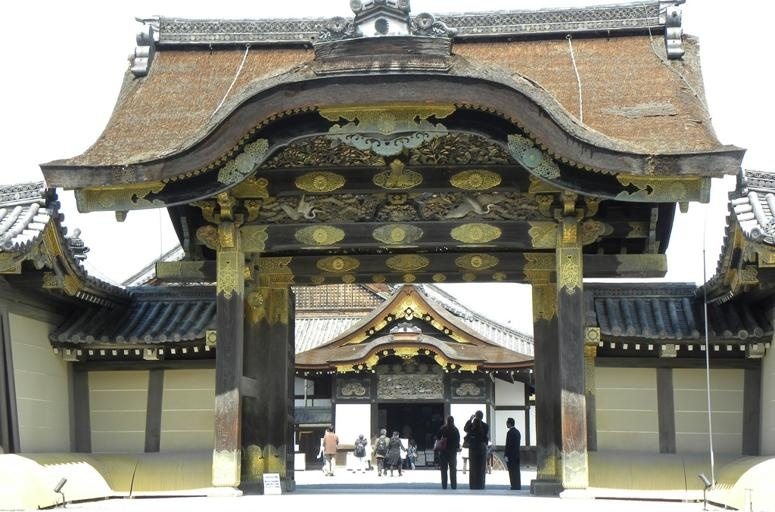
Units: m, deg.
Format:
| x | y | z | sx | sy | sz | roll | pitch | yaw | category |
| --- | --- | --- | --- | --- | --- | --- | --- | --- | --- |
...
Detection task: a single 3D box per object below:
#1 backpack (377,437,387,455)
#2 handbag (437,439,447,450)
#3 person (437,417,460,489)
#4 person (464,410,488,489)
| x | y | z | sx | sy | sz | roll | pitch | yaw | category |
| --- | --- | --- | --- | --- | --- | --- | --- | --- | --- |
| -0.098 | 4.283 | 41.820 | 0.252 | 0.473 | 0.279 | -2 | -18 | 0 | backpack |
| 1.062 | 3.529 | 34.714 | 0.088 | 0.192 | 0.227 | 23 | -20 | -10 | handbag |
| 1.113 | 3.711 | 34.791 | 0.551 | 1.365 | 0.482 | -1 | 3 | -31 | person |
| 1.699 | 3.575 | 34.244 | 0.413 | 1.552 | 0.628 | -3 | -18 | 3 | person |
